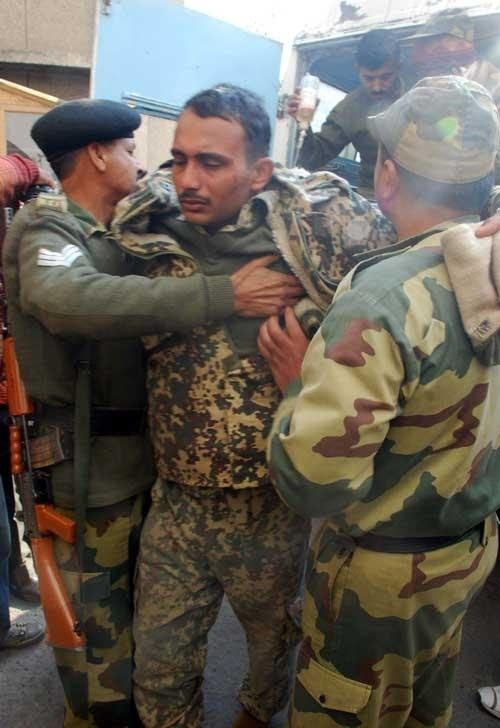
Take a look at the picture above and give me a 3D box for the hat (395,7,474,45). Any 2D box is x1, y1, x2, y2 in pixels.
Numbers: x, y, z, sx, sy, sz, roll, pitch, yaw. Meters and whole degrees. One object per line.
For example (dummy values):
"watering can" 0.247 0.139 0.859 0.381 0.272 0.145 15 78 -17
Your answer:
"hat" 1.128 -2.038 4.036 0.390 0.128 0.395 8 17 37

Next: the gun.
"gun" -0.608 0.373 1.995 0.164 0.831 0.507 -4 20 -26
